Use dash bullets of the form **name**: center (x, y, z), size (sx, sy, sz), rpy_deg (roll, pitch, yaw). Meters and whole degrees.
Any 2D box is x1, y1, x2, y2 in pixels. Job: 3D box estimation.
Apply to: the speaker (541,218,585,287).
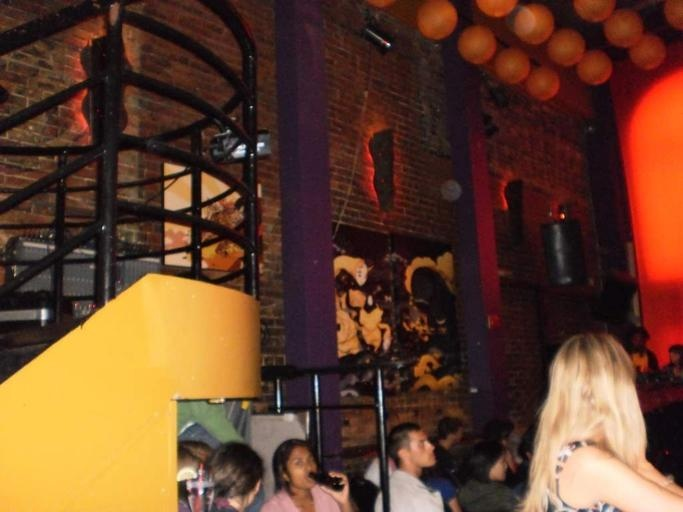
- **speaker**: center (2.868, -0.032, 7.795), size (0.473, 0.755, 0.555), rpy_deg (-10, -18, 20)
